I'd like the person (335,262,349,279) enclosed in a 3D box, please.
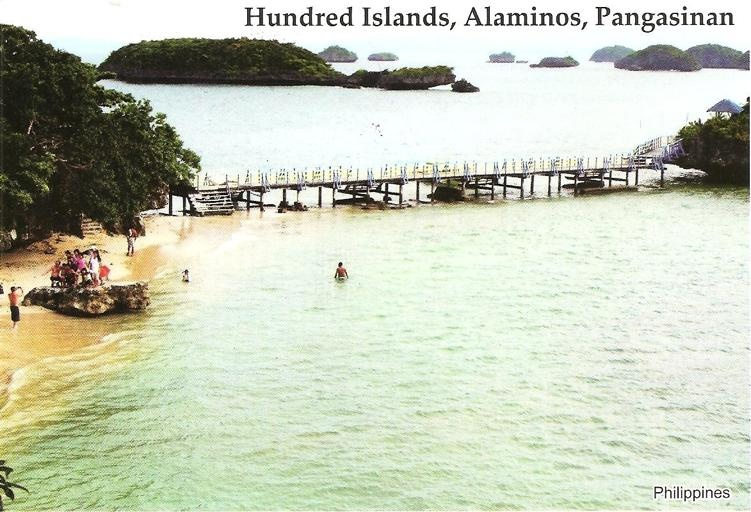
[{"bbox_3d":[-2.229,0.899,70.549,0.913,1.122,1.530,0,5,0],"label":"person"}]
